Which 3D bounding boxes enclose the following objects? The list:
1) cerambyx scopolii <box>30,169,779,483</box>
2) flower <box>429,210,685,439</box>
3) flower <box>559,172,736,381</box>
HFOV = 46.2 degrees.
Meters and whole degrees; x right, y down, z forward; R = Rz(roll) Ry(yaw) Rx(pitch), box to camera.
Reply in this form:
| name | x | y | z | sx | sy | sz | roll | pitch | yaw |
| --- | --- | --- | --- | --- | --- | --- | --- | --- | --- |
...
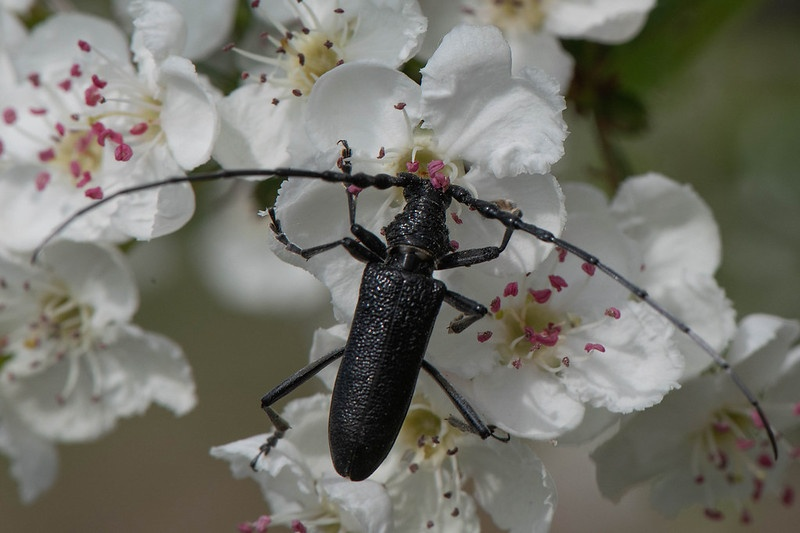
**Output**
| name | x | y | z | sx | sy | sz | roll | pitch | yaw |
| --- | --- | --- | --- | --- | --- | --- | --- | --- | --- |
| cerambyx scopolii | -0.052 | 0.206 | 3.210 | 2.457 | 0.405 | 1.275 | 13 | 78 | 4 |
| flower | 0.603 | 0.318 | 3.576 | 0.720 | 0.424 | 0.964 | 7 | 78 | 6 |
| flower | 1.160 | 0.102 | 3.980 | 0.632 | 0.268 | 0.867 | -4 | 82 | 10 |
